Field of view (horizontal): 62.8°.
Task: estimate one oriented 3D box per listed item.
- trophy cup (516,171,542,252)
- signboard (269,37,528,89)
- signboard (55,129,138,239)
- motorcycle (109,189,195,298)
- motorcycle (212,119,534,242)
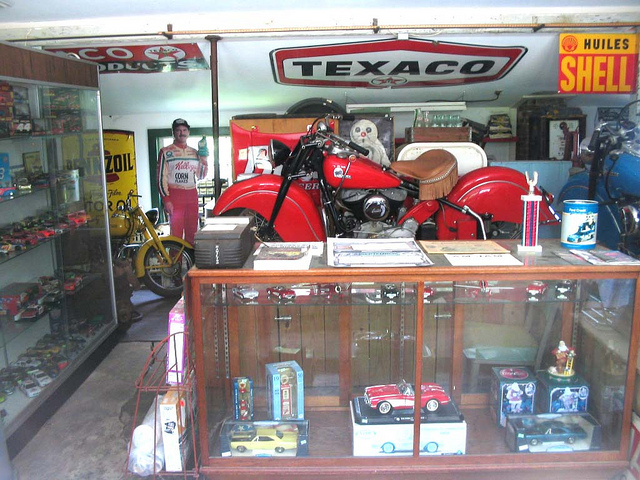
[{"bbox_3d":[1.152,-0.151,2.888,0.100,0.458,0.155,2,-10,24],"label":"trophy cup"},{"bbox_3d":[0.692,-1.603,4.871,2.403,0.086,1.034,-1,-12,-2],"label":"signboard"},{"bbox_3d":[-2.183,-0.647,5.517,0.592,1.039,0.612,-1,15,-6],"label":"signboard"},{"bbox_3d":[-1.686,0.082,5.246,0.858,1.413,0.908,-4,16,-29],"label":"motorcycle"},{"bbox_3d":[0.433,-0.406,4.473,2.271,1.031,1.062,0,21,2],"label":"motorcycle"}]
